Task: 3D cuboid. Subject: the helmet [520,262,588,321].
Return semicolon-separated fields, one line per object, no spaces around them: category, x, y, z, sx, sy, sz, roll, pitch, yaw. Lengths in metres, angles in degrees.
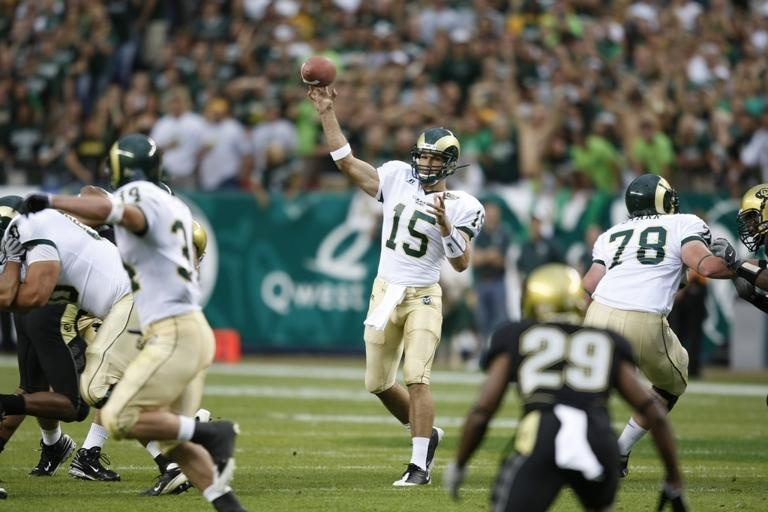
helmet;1.125;0.274;7.033;0.398;0.325;0.421;7;-17;1

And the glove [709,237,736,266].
glove;2.945;-0.033;9.135;0.373;0.233;0.222;0;2;-43

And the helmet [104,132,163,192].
helmet;-1.938;-0.712;7.995;0.457;0.483;0.395;3;7;35

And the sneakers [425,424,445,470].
sneakers;0.412;1.704;9.345;0.131;0.426;0.172;8;-6;20

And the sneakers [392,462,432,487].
sneakers;0.240;1.898;8.955;0.145;0.148;0.308;-4;-11;31

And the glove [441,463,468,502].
glove;0.450;1.554;7.123;0.148;0.173;0.578;28;-25;16

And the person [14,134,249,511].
person;-1.669;0.444;7.643;1.236;2.719;0.767;1;1;-9

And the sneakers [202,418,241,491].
sneakers;-1.161;1.417;7.557;0.223;0.554;0.178;0;-10;-12

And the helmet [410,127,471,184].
helmet;0.449;-0.930;9.582;0.415;0.508;0.580;8;11;8

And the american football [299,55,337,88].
american football;-0.601;-1.713;9.665;0.305;0.260;0.242;-2;-8;-33
